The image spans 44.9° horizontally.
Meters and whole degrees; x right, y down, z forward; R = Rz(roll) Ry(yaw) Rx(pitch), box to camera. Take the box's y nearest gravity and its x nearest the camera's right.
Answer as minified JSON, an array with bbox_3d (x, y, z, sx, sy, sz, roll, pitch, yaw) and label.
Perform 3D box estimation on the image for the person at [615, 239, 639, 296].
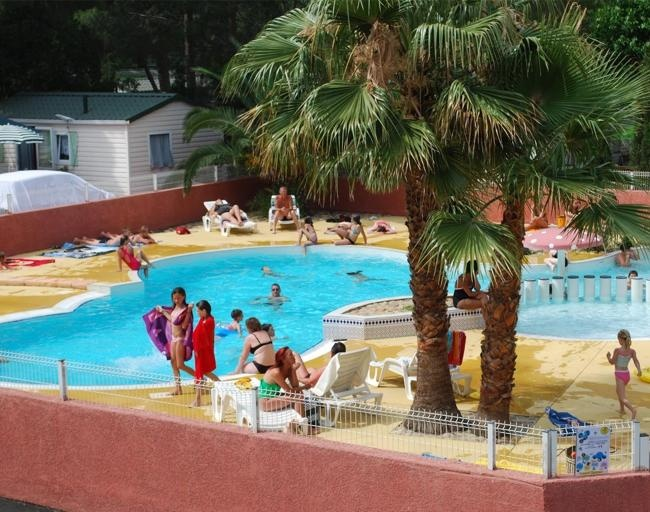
[{"bbox_3d":[7.281,0.325,19.013,0.690,1.088,0.280,12,-25,-12],"label":"person"}]

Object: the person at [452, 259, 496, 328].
[{"bbox_3d":[2.783,0.669,14.967,0.584,1.138,0.966,0,0,2],"label":"person"}]

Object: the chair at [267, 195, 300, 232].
[{"bbox_3d":[-1.331,-1.523,25.921,0.677,1.068,1.377,-2,7,-3],"label":"chair"}]

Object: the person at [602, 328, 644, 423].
[{"bbox_3d":[4.392,1.628,11.550,0.484,1.247,1.947,0,0,22],"label":"person"}]

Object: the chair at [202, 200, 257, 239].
[{"bbox_3d":[-3.263,-1.280,25.997,0.972,0.955,1.762,-9,16,-35],"label":"chair"}]
